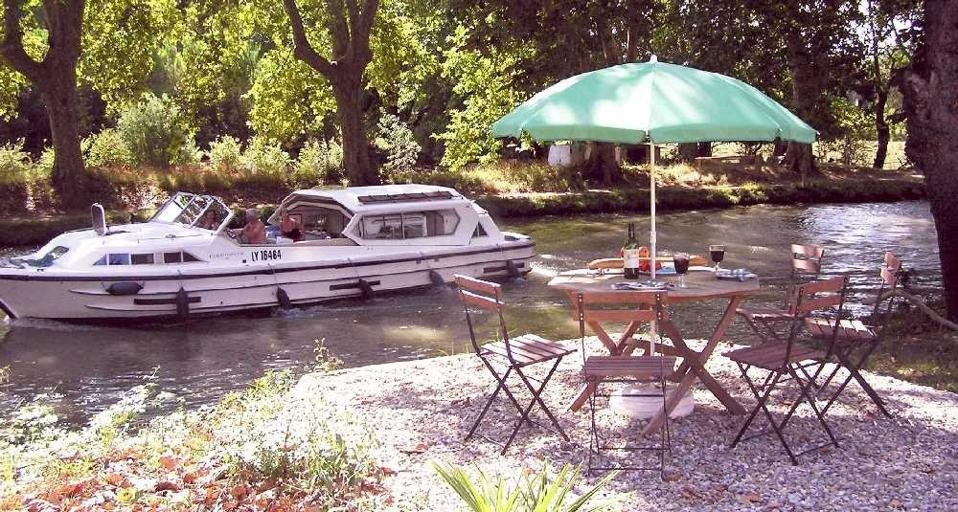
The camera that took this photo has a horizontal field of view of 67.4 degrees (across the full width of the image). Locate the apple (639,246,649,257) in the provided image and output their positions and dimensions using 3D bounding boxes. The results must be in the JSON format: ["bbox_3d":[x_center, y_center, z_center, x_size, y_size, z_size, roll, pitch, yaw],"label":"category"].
[{"bbox_3d":[2.828,-0.080,12.374,0.161,0.198,0.094,-3,7,-5],"label":"apple"}]

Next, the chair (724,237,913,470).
[{"bbox_3d":[6.403,1.853,13.519,1.752,2.737,3.807,4,8,38],"label":"chair"}]

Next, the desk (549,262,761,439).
[{"bbox_3d":[2.983,1.591,12.491,3.282,1.848,2.988,-1,13,2],"label":"desk"}]
